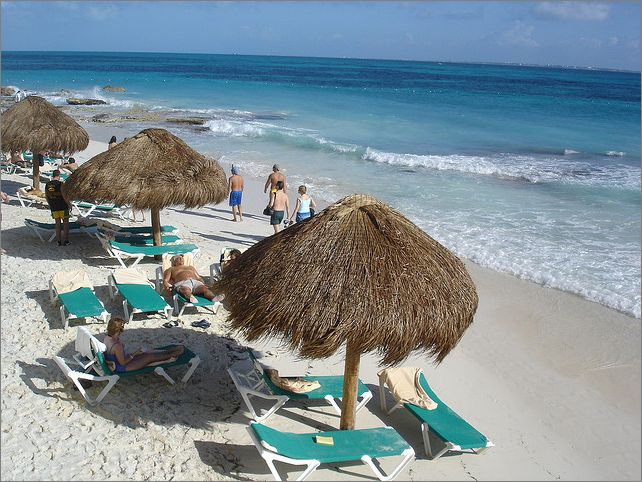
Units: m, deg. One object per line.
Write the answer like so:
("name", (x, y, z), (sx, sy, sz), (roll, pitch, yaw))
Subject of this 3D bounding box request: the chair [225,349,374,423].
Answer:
("chair", (-0.346, 1.914, 6.635), (2.119, 0.575, 0.867), (0, 11, -10))

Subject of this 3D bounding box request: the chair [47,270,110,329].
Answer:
("chair", (-3.838, 0.862, 7.765), (0.599, 0.270, 1.054), (-17, 46, -34))

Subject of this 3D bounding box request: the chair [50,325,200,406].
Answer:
("chair", (-2.590, 1.573, 6.653), (1.687, 0.553, 0.775), (-1, 9, -33))

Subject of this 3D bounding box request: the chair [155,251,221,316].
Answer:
("chair", (-2.263, 0.690, 8.402), (0.791, 0.531, 1.297), (-14, 37, -33))

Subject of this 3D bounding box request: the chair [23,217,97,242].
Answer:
("chair", (-5.596, -0.245, 10.512), (1.692, 0.350, 0.577), (-6, 29, -30))

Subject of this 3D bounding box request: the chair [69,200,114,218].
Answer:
("chair", (-5.485, -0.783, 11.906), (0.910, 0.293, 1.320), (-1, 4, -41))

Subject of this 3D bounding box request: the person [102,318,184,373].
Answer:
("person", (-2.397, 1.431, 6.773), (0.548, 0.604, 1.356), (2, -5, 40))

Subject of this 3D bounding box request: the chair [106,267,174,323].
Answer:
("chair", (-3.000, 0.858, 8.123), (0.675, 0.304, 1.205), (-20, 39, -29))

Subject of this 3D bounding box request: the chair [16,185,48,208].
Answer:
("chair", (-7.392, -1.072, 12.612), (0.718, 0.356, 1.186), (-9, 25, -43))

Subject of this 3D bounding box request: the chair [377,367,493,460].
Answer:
("chair", (1.355, 2.226, 6.548), (0.848, 0.394, 1.582), (-7, 28, -32))

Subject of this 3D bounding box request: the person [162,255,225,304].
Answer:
("person", (-2.235, 0.621, 8.357), (0.713, 0.449, 1.342), (-5, 23, -35))

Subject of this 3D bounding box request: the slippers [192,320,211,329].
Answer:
("slippers", (-1.954, 1.355, 8.038), (0.257, 0.072, 0.129), (0, 3, -7))

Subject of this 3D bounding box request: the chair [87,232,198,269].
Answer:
("chair", (-3.480, 0.143, 9.719), (2.204, 0.548, 0.737), (-4, 28, -19))

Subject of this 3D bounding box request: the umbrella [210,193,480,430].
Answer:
("umbrella", (0.046, 0.408, 6.623), (3.197, 2.206, 3.098), (-14, 33, -43))
